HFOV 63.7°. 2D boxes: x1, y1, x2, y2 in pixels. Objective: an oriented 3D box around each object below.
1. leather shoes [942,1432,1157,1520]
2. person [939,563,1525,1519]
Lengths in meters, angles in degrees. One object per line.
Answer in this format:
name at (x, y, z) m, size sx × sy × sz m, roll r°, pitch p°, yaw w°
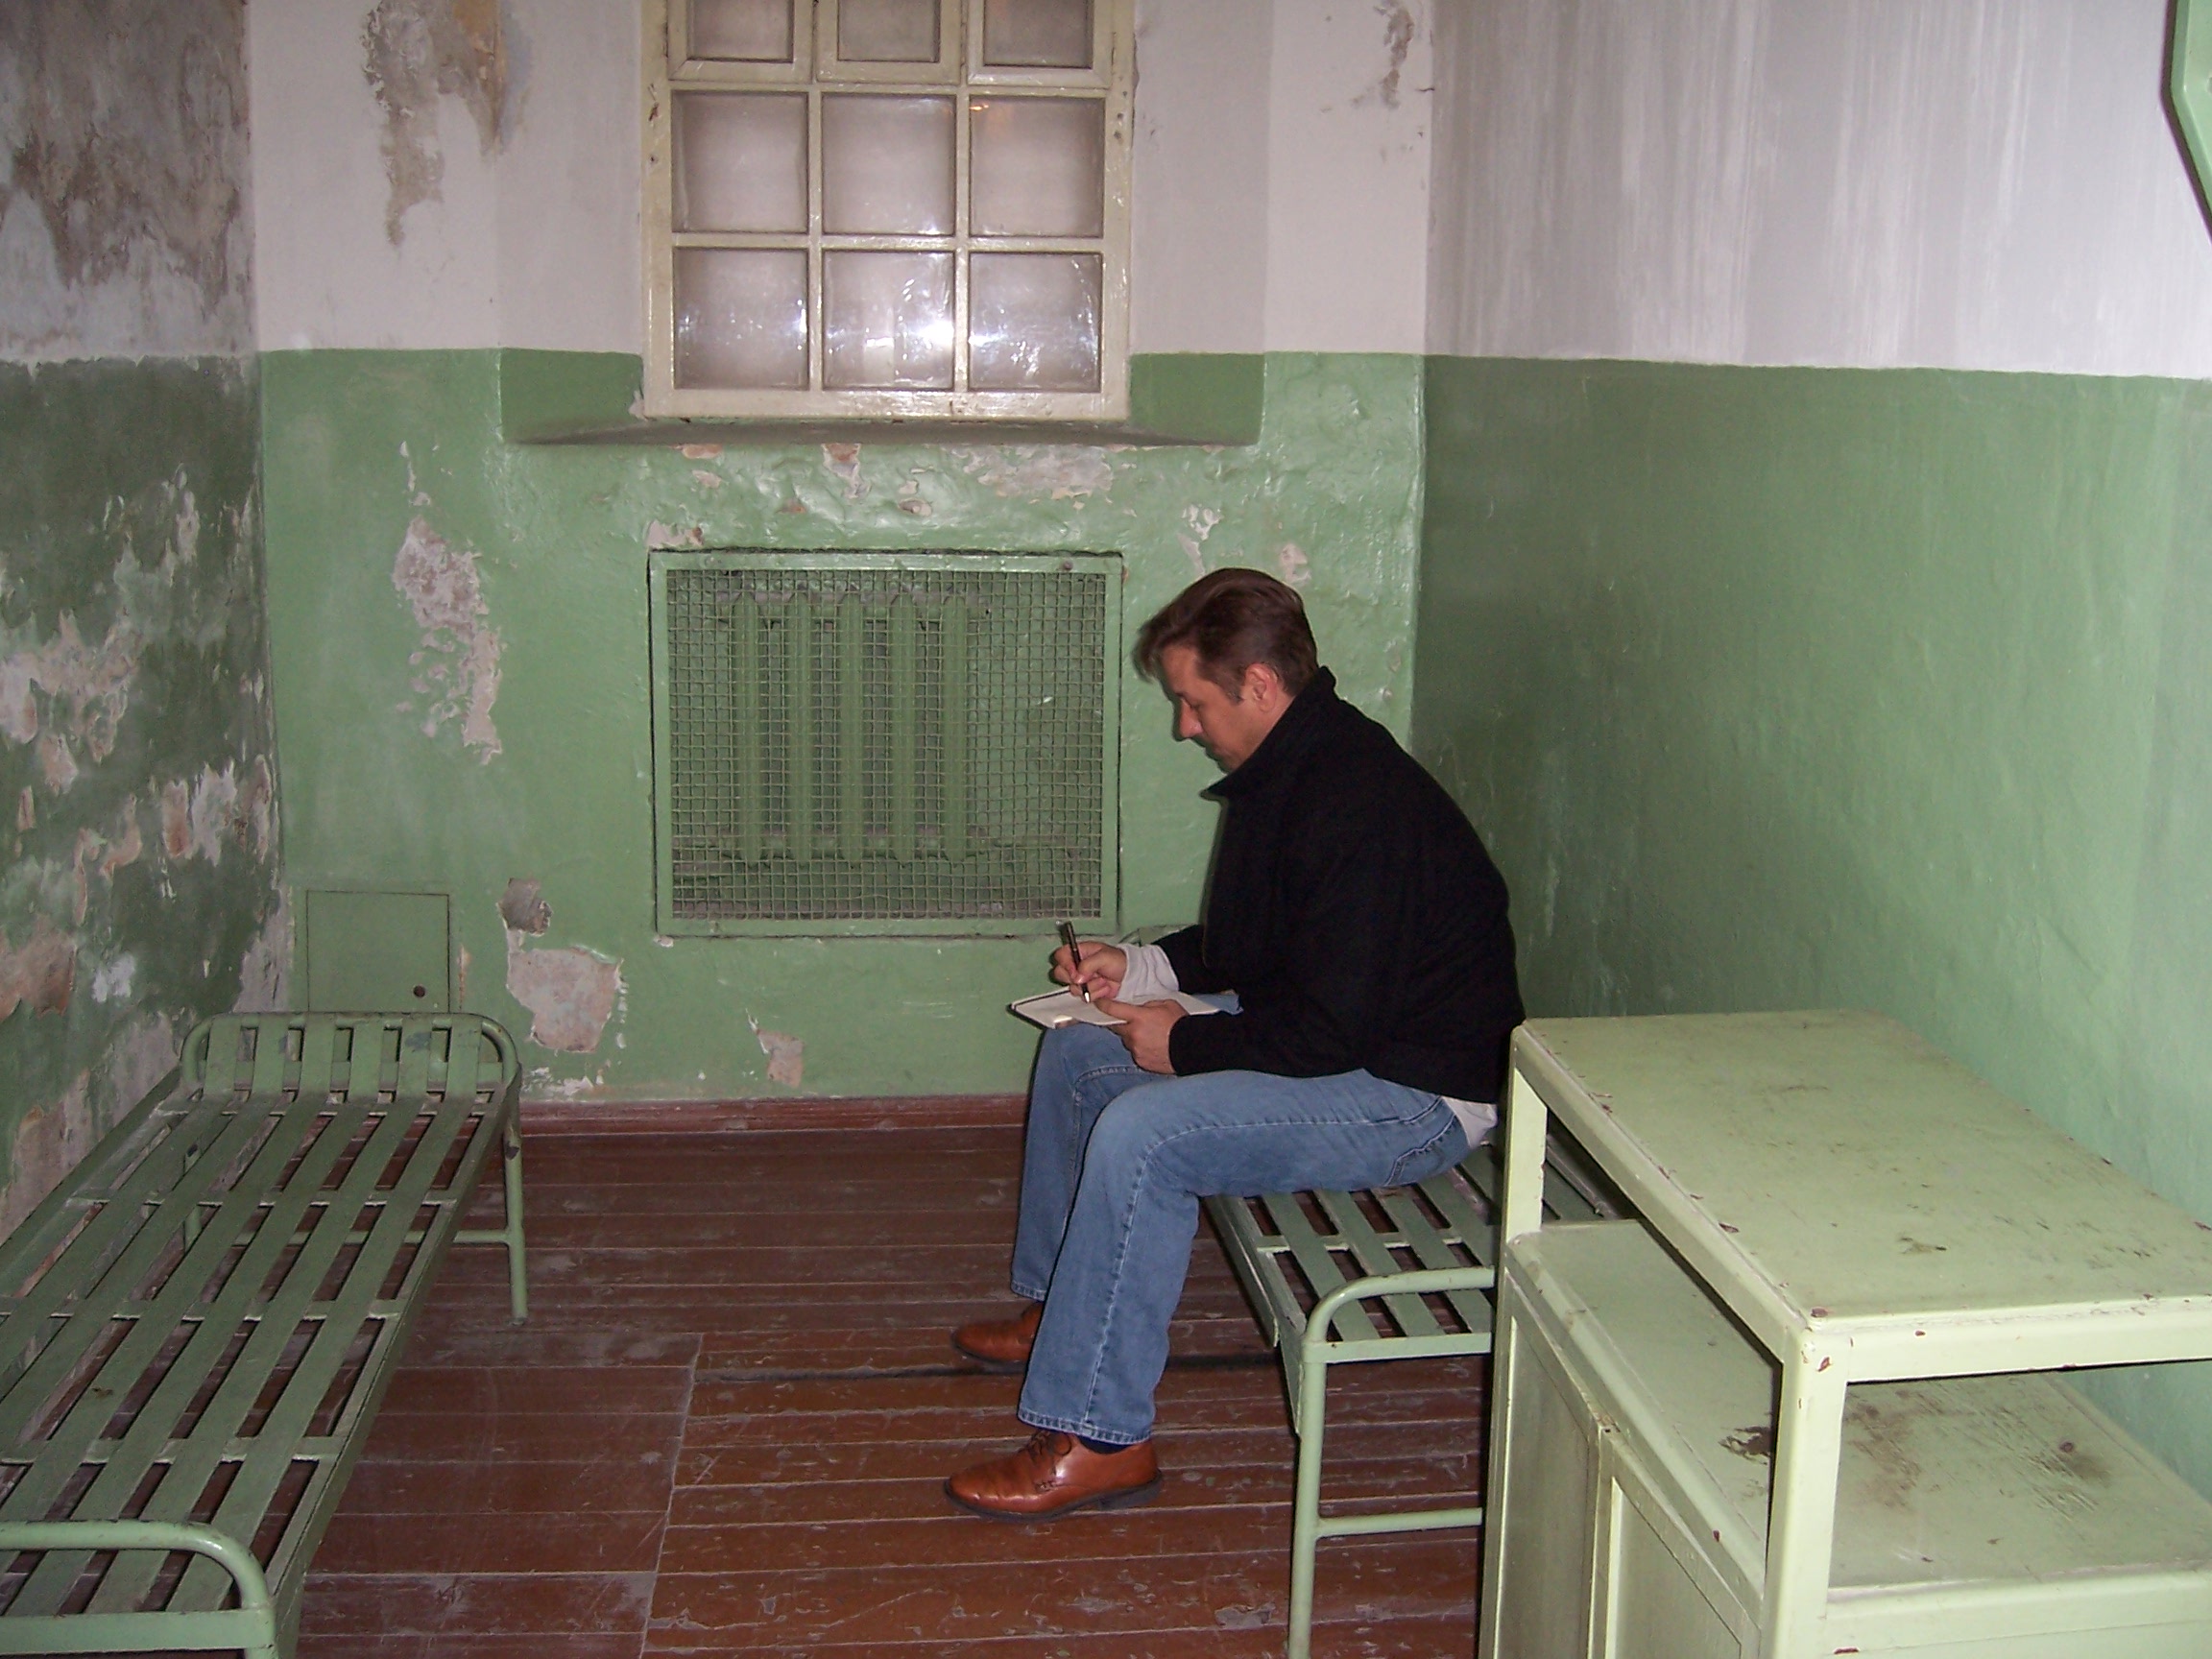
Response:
leather shoes at (-0.083, 1.027, 2.880) m, size 0.343 × 0.160 × 0.126 m, roll 3°, pitch 5°, yaw -12°
person at (0.169, 0.321, 3.012) m, size 1.006 × 1.437 × 0.766 m, roll 1°, pitch 6°, yaw 2°
